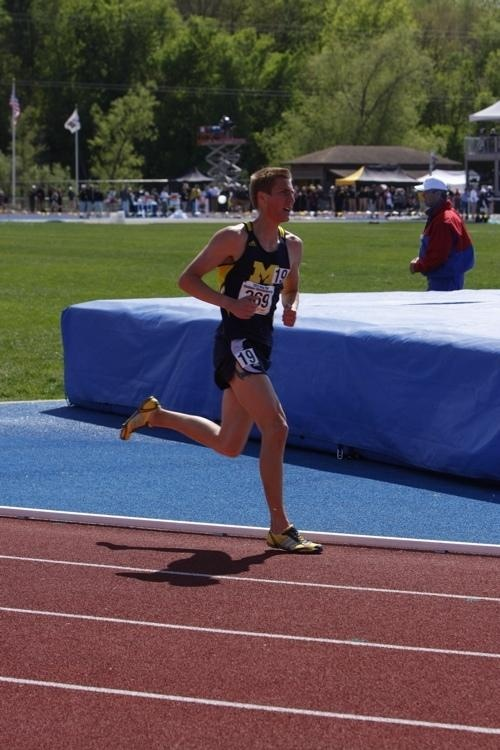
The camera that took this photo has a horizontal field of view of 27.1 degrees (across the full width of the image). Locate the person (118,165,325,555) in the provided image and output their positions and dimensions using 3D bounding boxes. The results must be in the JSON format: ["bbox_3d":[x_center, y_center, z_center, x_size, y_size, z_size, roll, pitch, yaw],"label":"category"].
[{"bbox_3d":[-0.032,-0.061,4.318,0.656,1.589,0.581,0,7,-7],"label":"person"}]

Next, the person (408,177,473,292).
[{"bbox_3d":[1.680,-1.242,9.045,0.515,1.001,0.808,2,7,10],"label":"person"}]

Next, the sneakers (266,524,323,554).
[{"bbox_3d":[0.178,0.683,4.353,0.267,0.120,0.094,5,-9,11],"label":"sneakers"}]
